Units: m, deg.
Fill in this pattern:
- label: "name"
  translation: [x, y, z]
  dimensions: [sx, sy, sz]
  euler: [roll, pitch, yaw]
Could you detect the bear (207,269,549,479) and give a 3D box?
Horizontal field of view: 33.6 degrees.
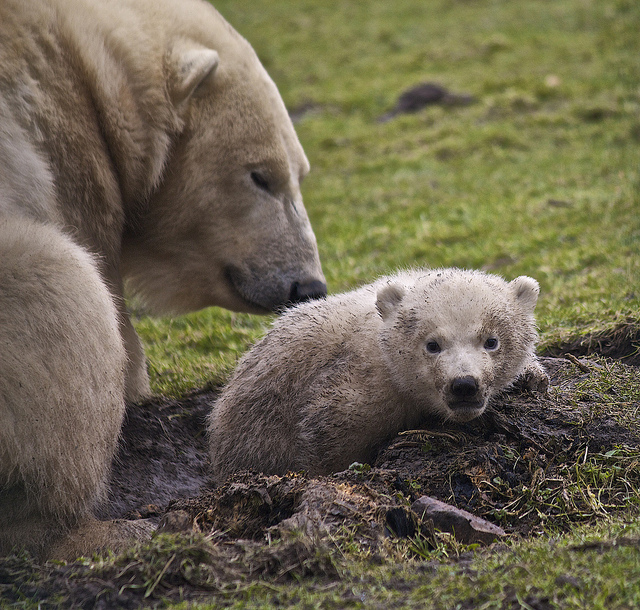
- label: "bear"
  translation: [0.272, 0.329, 5.499]
  dimensions: [1.704, 0.959, 0.958]
  euler: [-14, 17, 40]
